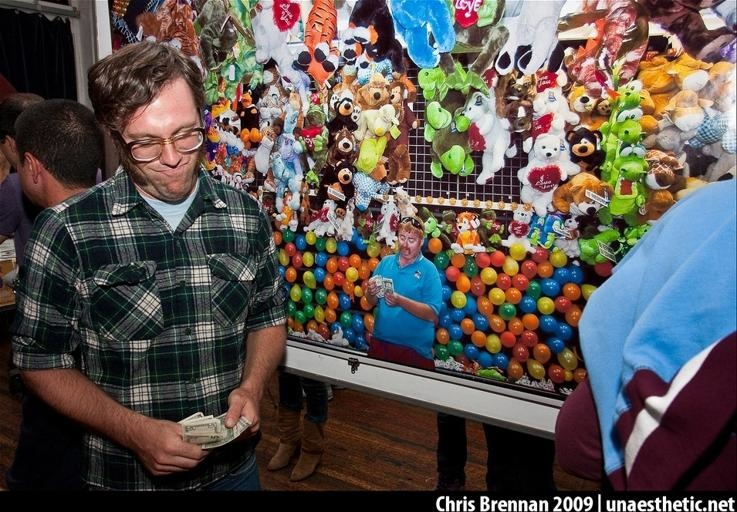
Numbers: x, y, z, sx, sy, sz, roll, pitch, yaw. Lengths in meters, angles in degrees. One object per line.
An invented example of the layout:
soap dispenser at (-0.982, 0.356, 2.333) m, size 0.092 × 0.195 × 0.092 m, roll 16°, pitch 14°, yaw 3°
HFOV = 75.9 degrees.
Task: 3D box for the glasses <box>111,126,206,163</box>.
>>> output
glasses at (-0.586, -0.321, 1.362) m, size 0.210 × 0.098 × 0.064 m, roll -7°, pitch 21°, yaw -24°

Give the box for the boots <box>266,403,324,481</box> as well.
boots at (-0.416, 1.074, 2.697) m, size 0.265 × 0.328 × 0.275 m, roll 23°, pitch 38°, yaw 28°

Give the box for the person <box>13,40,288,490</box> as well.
person at (-0.631, -0.032, 1.397) m, size 0.663 × 1.134 × 0.562 m, roll 5°, pitch 19°, yaw 8°
